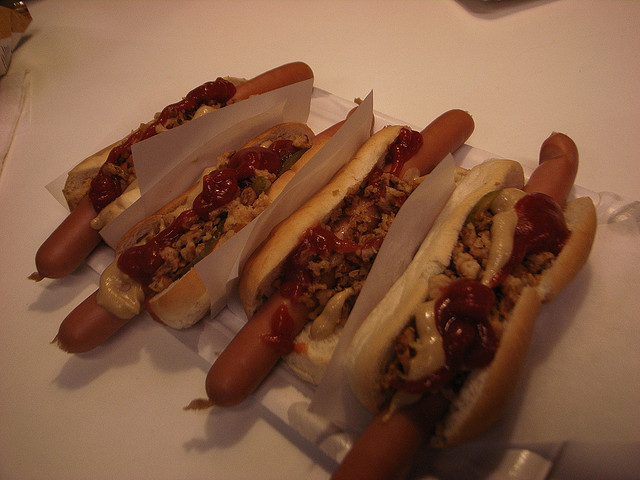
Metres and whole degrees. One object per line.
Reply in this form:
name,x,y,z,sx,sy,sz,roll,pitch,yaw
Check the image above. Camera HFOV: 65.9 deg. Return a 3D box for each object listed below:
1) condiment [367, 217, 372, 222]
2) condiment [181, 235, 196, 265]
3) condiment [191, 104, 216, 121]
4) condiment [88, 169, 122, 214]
condiment,0.389,-0.157,3.907,0.023,0.037,0.050,21,-2,30
condiment,-1.080,0.102,4.054,0.109,0.197,0.056,6,2,-2
condiment,-1.060,-1.180,4.535,0.183,0.151,0.100,50,-22,-10
condiment,-1.990,-0.439,4.574,0.273,0.434,0.159,22,-1,-23
